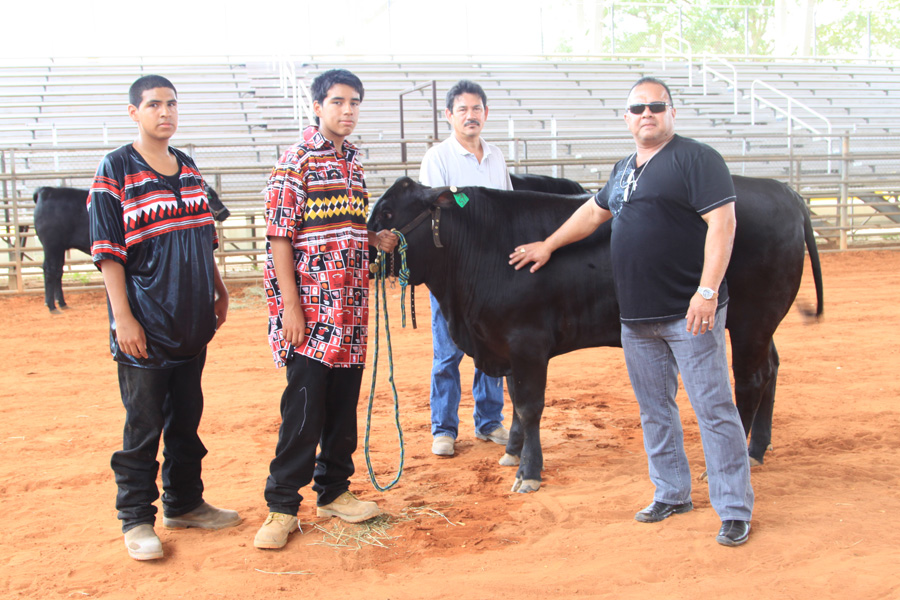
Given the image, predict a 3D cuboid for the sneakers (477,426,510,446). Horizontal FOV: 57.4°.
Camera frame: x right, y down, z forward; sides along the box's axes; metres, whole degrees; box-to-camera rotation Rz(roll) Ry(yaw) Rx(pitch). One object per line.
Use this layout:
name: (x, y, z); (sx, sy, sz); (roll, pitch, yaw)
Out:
sneakers: (0.388, 1.202, 7.239); (0.287, 0.132, 0.121); (-1, -5, 29)

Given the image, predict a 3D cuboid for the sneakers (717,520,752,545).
sneakers: (1.906, 1.559, 5.522); (0.235, 0.147, 0.153); (0, 14, 8)

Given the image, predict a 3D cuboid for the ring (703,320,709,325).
ring: (1.657, 0.146, 5.354); (0.035, 0.030, 0.008); (1, -2, -4)

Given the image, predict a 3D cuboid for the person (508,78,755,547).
person: (1.442, 0.036, 5.682); (0.562, 3.048, 1.467); (-13, 17, -36)

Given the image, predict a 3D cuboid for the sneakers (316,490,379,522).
sneakers: (-0.723, 1.496, 5.942); (0.441, 0.186, 0.188); (-1, 2, 9)

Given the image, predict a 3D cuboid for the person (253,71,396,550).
person: (-0.961, 0.061, 5.706); (0.960, 3.214, 0.697); (-6, 14, -14)

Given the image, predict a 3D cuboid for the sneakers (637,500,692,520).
sneakers: (1.499, 1.476, 5.887); (0.393, 0.152, 0.137); (-4, -1, -13)

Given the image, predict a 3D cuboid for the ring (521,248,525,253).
ring: (0.544, -0.371, 6.230); (0.019, 0.030, 0.013); (4, -8, 10)

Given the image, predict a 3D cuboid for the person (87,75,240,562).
person: (-1.971, 0.114, 5.629); (0.963, 3.210, 0.666); (-12, 17, -35)

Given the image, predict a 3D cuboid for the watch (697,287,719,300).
watch: (1.653, -0.037, 5.318); (0.096, 0.050, 0.088); (0, 11, -41)

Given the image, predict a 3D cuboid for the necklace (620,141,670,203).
necklace: (1.286, -0.809, 5.538); (0.170, 0.269, 0.063); (11, 21, -48)

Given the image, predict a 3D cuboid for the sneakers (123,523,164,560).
sneakers: (-2.092, 1.651, 5.592); (0.162, 0.145, 0.342); (1, -6, -28)

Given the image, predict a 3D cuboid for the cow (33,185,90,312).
cow: (-6.024, -0.814, 12.848); (0.787, 1.864, 0.758); (-9, 15, -25)
